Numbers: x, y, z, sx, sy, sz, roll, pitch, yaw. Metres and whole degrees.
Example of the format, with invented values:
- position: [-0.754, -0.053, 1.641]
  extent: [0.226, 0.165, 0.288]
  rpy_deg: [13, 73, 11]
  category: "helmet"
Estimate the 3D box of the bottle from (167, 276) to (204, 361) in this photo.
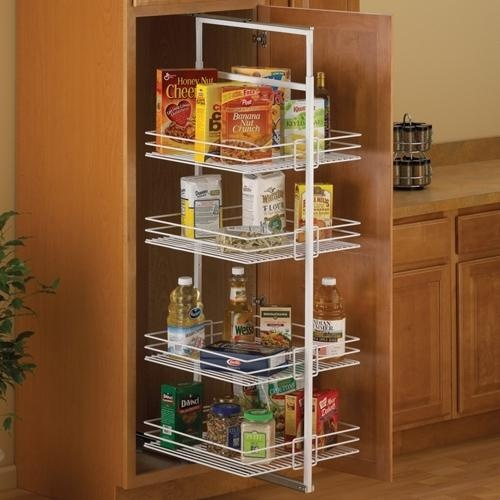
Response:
- position: [-0.168, 0.168, 1.938]
  extent: [0.093, 0.203, 0.163]
  rpy_deg: [-3, 4, -1]
  category: "bottle"

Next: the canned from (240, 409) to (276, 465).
- position: [0.018, 0.452, 1.816]
  extent: [0.078, 0.121, 0.072]
  rpy_deg: [4, 13, 10]
  category: "canned"

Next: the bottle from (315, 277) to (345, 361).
- position: [0.205, 0.176, 1.913]
  extent: [0.084, 0.214, 0.121]
  rpy_deg: [-3, 4, 7]
  category: "bottle"

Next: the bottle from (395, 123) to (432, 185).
- position: [0.645, -0.383, 2.930]
  extent: [0.148, 0.284, 0.309]
  rpy_deg: [-2, 4, 13]
  category: "bottle"

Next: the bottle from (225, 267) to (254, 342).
- position: [-0.031, 0.141, 1.958]
  extent: [0.077, 0.202, 0.135]
  rpy_deg: [-3, 4, -1]
  category: "bottle"

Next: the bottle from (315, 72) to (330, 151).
- position: [0.185, -0.357, 1.861]
  extent: [0.036, 0.197, 0.108]
  rpy_deg: [-3, 4, 7]
  category: "bottle"
